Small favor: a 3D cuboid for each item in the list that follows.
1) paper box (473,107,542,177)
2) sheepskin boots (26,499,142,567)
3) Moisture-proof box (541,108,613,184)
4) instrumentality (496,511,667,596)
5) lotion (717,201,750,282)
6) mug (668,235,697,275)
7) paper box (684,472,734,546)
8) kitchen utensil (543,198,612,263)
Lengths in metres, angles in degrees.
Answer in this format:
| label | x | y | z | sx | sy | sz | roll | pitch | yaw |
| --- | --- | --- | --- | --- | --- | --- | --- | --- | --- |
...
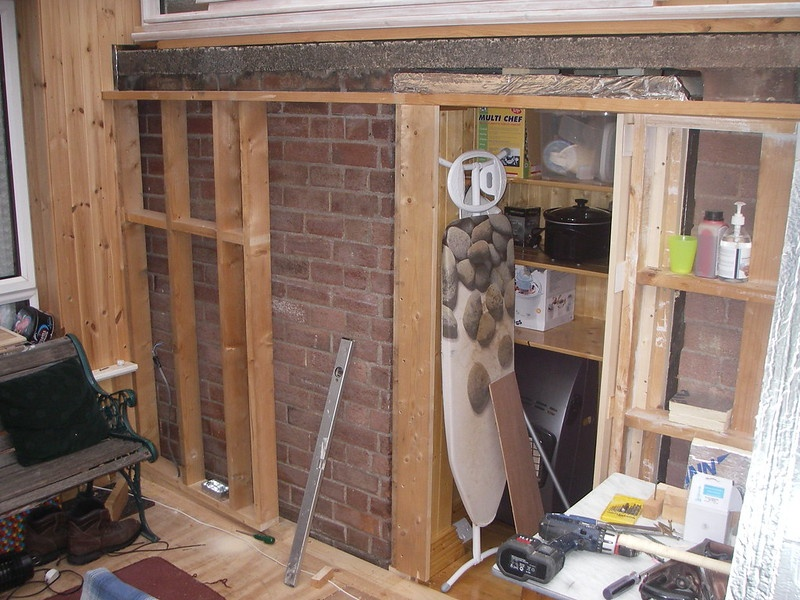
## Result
| label | x | y | z | sx | sy | sz | roll | pitch | yaw |
| --- | --- | --- | --- | --- | --- | --- | --- | --- | --- |
| paper box | 0.611 | -0.871 | 3.549 | 0.407 | 0.514 | 0.270 | 15 | 27 | 40 |
| sheepskin boots | -1.702 | 1.236 | 3.585 | 0.648 | 0.280 | 0.217 | -7 | 20 | -38 |
| Moisture-proof box | 1.012 | -0.846 | 3.705 | 0.500 | 0.452 | 0.283 | 3 | -10 | 6 |
| instrumentality | 0.586 | 0.885 | 2.291 | 0.446 | 0.156 | 0.279 | -8 | 18 | -28 |
| lotion | 1.391 | -0.244 | 2.658 | 0.122 | 0.299 | 0.177 | 8 | 17 | 25 |
| mug | 1.219 | -0.200 | 2.777 | 0.114 | 0.154 | 0.119 | 7 | 17 | 24 |
| paper box | 1.113 | 0.757 | 2.305 | 0.146 | 0.241 | 0.096 | 9 | 18 | 28 |
| kitchen utensil | 0.978 | -0.398 | 3.634 | 0.362 | 0.319 | 0.361 | 11 | 23 | 30 |
